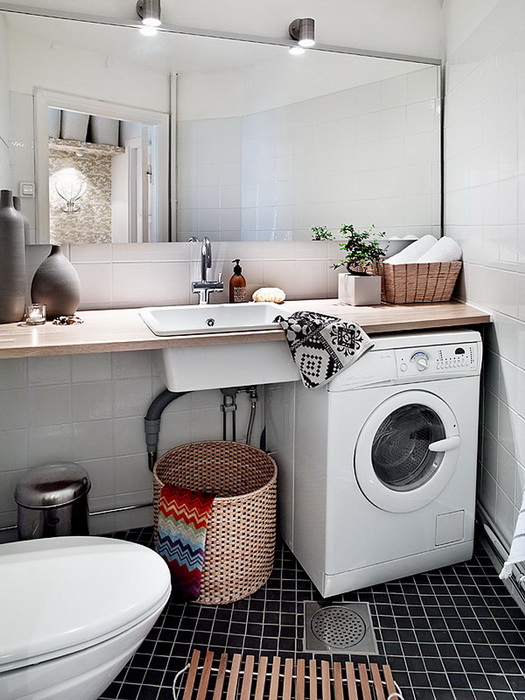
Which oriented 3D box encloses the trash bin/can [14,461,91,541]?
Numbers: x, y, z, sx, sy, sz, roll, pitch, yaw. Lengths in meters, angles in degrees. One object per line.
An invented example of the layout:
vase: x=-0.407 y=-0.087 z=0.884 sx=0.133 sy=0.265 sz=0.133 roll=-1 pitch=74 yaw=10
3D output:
trash bin/can: x=-0.662 y=0.472 z=1.621 sx=0.225 sy=0.220 sz=0.227 roll=-1 pitch=6 yaw=-36

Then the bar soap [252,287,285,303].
bar soap: x=0.023 y=-0.211 z=1.981 sx=0.078 sy=0.045 sz=0.075 roll=2 pitch=2 yaw=21

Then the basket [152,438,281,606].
basket: x=-0.155 y=0.509 z=1.715 sx=0.378 sy=0.387 sz=0.447 roll=0 pitch=11 yaw=-8

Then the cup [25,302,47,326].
cup: x=-0.677 y=-0.111 z=1.518 sx=0.052 sy=0.068 sz=0.060 roll=2 pitch=2 yaw=12

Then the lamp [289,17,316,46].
lamp: x=0.145 y=-1.197 z=1.933 sx=0.083 sy=0.123 sz=0.117 roll=-2 pitch=7 yaw=-9

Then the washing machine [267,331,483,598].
washing machine: x=0.391 y=0.325 z=1.948 sx=0.649 sy=1.074 sz=0.773 roll=-2 pitch=3 yaw=-23

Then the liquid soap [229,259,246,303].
liquid soap: x=-0.101 y=-0.275 z=2.007 sx=0.065 sy=0.173 sz=0.131 roll=0 pitch=6 yaw=-4

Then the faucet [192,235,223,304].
faucet: x=-0.215 y=-0.302 z=1.918 sx=0.118 sy=0.256 sz=0.200 roll=-1 pitch=6 yaw=-7

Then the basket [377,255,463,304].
basket: x=0.647 y=-0.272 z=2.019 sx=0.240 sy=0.143 sz=0.189 roll=-3 pitch=8 yaw=-7

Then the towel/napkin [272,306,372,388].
towel/napkin: x=0.171 y=0.004 z=1.447 sx=0.273 sy=0.211 sz=0.081 roll=0 pitch=6 yaw=1
